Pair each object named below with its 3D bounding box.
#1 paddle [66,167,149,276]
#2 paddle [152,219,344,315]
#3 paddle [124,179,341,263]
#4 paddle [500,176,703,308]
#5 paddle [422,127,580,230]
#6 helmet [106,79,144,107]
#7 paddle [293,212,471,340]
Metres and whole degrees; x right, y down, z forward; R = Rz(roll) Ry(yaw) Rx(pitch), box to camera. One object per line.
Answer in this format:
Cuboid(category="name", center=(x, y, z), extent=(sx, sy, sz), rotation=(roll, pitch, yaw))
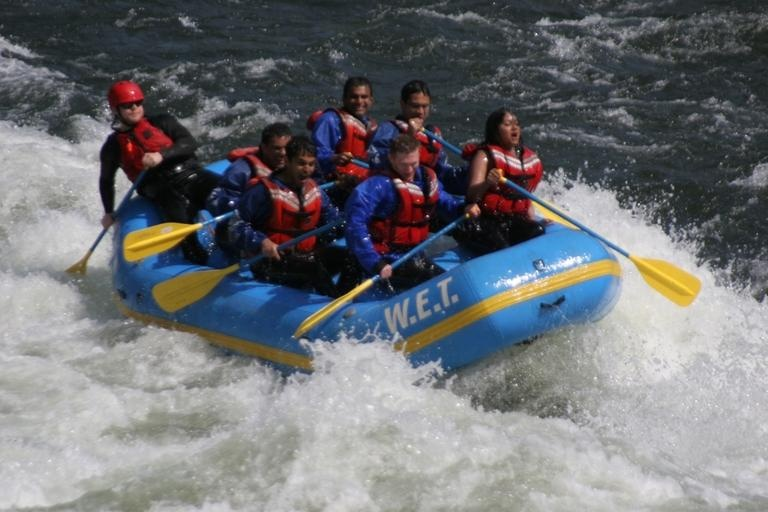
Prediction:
Cuboid(category="paddle", center=(-3.333, -0.367, 13.268), extent=(0.356, 0.091, 1.821), rotation=(42, 94, -4))
Cuboid(category="paddle", center=(-1.428, 0.143, 11.868), extent=(2.340, 0.111, 0.368), rotation=(-23, 70, 7))
Cuboid(category="paddle", center=(-1.622, -0.355, 12.089), extent=(2.226, 0.148, 0.337), rotation=(-19, 60, 3))
Cuboid(category="paddle", center=(2.372, -0.111, 12.061), extent=(2.934, 0.200, 0.432), rotation=(28, 79, 2))
Cuboid(category="paddle", center=(1.326, -0.836, 12.514), extent=(2.436, 0.134, 0.267), rotation=(32, 36, -6))
Cuboid(category="helmet", center=(-3.051, -1.897, 12.775), extent=(0.483, 0.324, 0.341), rotation=(9, 25, 34))
Cuboid(category="paddle", center=(-0.049, 0.250, 11.480), extent=(2.073, 0.085, 0.226), rotation=(-35, 26, -4))
